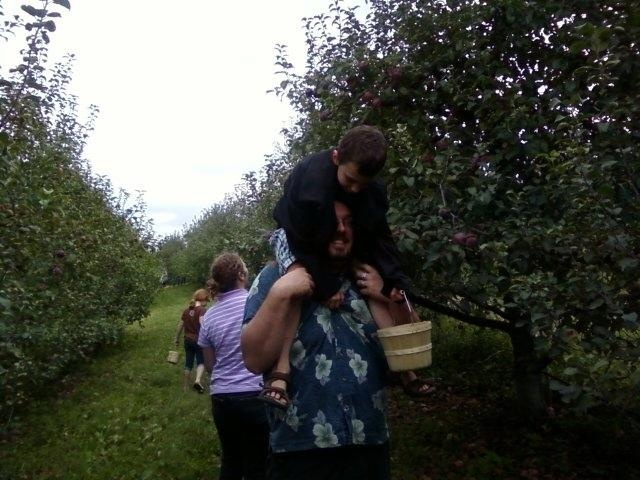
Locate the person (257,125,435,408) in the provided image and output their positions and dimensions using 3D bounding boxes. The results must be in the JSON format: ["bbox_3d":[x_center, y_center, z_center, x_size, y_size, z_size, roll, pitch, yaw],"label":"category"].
[{"bbox_3d":[-0.034,0.142,2.645,1.119,1.513,0.856,5,7,-36],"label":"person"}]

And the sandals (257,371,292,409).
[{"bbox_3d":[-0.227,0.769,2.104,0.129,0.168,0.096,-4,-1,10],"label":"sandals"}]

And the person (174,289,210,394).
[{"bbox_3d":[-2.719,2.183,8.960,0.969,2.085,0.762,-1,-2,29],"label":"person"}]

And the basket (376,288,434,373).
[{"bbox_3d":[0.441,0.531,2.252,0.237,0.306,0.252,-2,-8,-5],"label":"basket"}]
